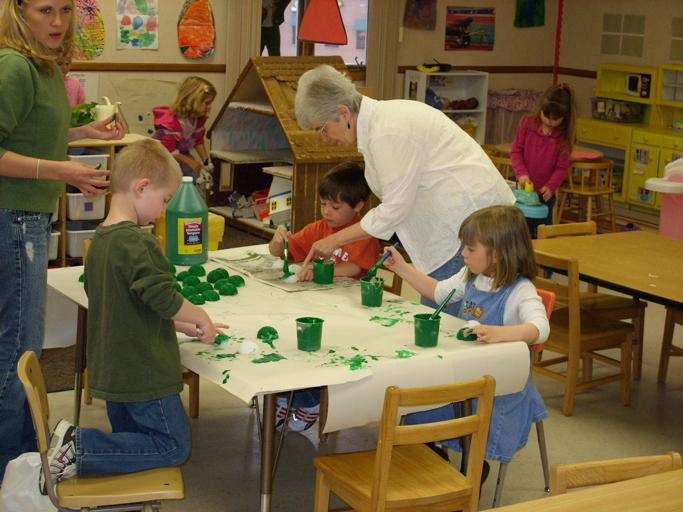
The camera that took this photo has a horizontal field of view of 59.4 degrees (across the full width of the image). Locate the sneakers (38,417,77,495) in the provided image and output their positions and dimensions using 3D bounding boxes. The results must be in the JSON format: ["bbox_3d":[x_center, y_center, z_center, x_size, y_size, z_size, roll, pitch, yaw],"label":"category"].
[{"bbox_3d":[-0.810,0.566,1.741,0.102,0.232,0.078,-3,5,-12],"label":"sneakers"}]

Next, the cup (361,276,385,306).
[{"bbox_3d":[0.119,0.142,2.346,0.092,0.088,0.101,-1,6,-3],"label":"cup"}]

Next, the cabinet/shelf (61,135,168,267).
[{"bbox_3d":[-1.959,-0.613,4.902,0.380,0.830,0.901,15,6,-5],"label":"cabinet/shelf"}]

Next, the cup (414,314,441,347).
[{"bbox_3d":[0.274,0.245,1.986,0.096,0.097,0.095,-1,9,0],"label":"cup"}]

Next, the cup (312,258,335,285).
[{"bbox_3d":[-0.075,0.069,2.580,0.096,0.096,0.107,0,4,-1],"label":"cup"}]

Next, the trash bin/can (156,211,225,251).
[{"bbox_3d":[-1.047,-0.175,4.323,0.433,0.378,0.432,0,7,-41],"label":"trash bin/can"}]

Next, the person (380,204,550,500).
[{"bbox_3d":[0.459,0.384,2.304,0.699,1.101,0.555,3,-1,11],"label":"person"}]

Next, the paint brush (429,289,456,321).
[{"bbox_3d":[0.389,0.187,2.330,0.027,0.141,0.031,29,8,-43],"label":"paint brush"}]

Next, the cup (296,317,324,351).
[{"bbox_3d":[-0.102,0.251,1.912,0.082,0.101,0.115,2,7,-4],"label":"cup"}]

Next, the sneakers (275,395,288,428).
[{"bbox_3d":[-0.247,0.650,2.503,0.065,0.090,0.212,3,-8,-1],"label":"sneakers"}]
